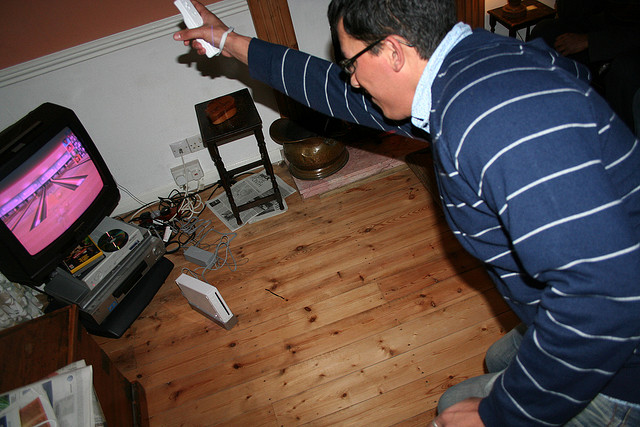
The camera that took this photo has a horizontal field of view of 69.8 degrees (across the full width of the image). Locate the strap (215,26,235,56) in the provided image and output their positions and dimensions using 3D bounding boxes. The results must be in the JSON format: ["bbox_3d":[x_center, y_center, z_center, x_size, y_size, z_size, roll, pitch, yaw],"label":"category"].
[{"bbox_3d":[-0.429,-0.772,2.082,0.032,0.079,0.102,34,103,0],"label":"strap"}]

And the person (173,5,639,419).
[{"bbox_3d":[0.308,0.044,2.170,1.390,2.160,1.173,-28,32,30],"label":"person"}]

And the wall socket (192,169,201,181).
[{"bbox_3d":[-0.952,-0.287,3.537,0.064,0.060,0.016,-15,42,-2],"label":"wall socket"}]

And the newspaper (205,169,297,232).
[{"bbox_3d":[-0.545,-0.116,3.493,0.653,0.049,0.443,-34,56,-14],"label":"newspaper"}]

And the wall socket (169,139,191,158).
[{"bbox_3d":[-1.029,-0.474,3.395,0.139,0.119,0.032,-16,44,-8],"label":"wall socket"}]
